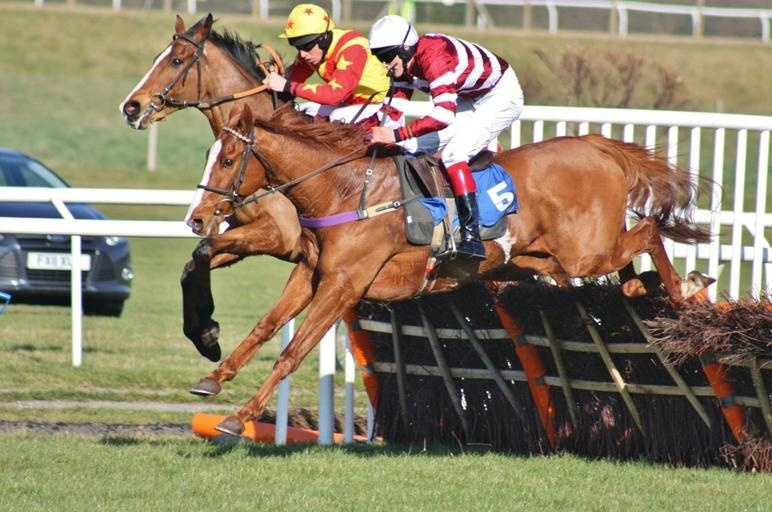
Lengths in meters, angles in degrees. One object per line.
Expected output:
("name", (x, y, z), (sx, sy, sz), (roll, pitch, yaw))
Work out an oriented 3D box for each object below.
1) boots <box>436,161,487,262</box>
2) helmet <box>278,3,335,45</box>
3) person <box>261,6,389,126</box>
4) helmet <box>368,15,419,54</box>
("boots", (0.723, -0.405, 13.645), (0.335, 0.859, 0.125), (4, -7, -23))
("helmet", (-0.750, -2.127, 14.043), (0.451, 0.245, 0.327), (-17, 19, -20))
("person", (-0.443, -1.804, 14.333), (1.338, 1.205, 0.973), (-7, 13, -22))
("helmet", (0.047, -1.988, 13.572), (0.388, 0.287, 0.306), (-31, 29, -35))
